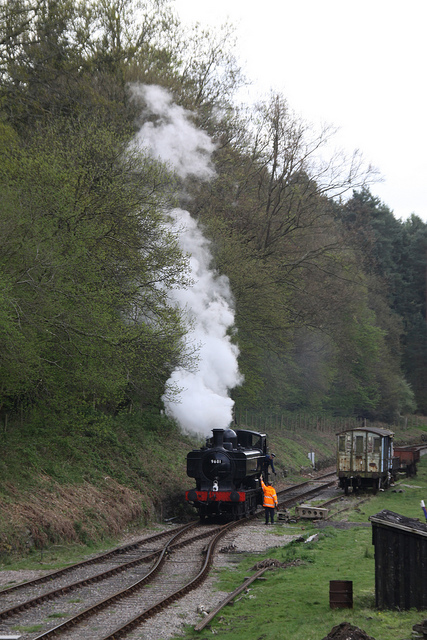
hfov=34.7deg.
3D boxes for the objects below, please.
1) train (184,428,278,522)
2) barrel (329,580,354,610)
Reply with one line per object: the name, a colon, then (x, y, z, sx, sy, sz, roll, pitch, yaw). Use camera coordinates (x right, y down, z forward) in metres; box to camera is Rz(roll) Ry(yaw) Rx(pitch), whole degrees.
train: (0.734, 5.297, 23.696, 2.120, 2.220, 4.743, -2, -8, 11)
barrel: (1.972, 4.203, 10.564, 0.417, 0.382, 0.400, 1, -7, -10)
